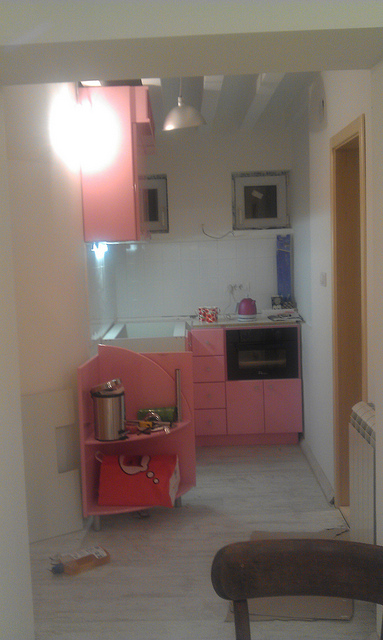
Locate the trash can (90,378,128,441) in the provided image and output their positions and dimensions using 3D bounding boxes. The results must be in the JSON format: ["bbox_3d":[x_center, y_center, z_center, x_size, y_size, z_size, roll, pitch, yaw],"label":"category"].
[{"bbox_3d":[-0.405,0.439,2.634,0.170,0.282,0.137,-4,5,-20],"label":"trash can"}]

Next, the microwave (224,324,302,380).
[{"bbox_3d":[0.543,0.270,4.019,0.576,0.404,0.336,-2,-12,8],"label":"microwave"}]

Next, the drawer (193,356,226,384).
[{"bbox_3d":[0.124,0.345,3.878,0.198,0.182,0.207,0,0,1],"label":"drawer"}]

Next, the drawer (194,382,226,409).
[{"bbox_3d":[0.115,0.521,3.954,0.280,0.270,0.171,-1,1,-3],"label":"drawer"}]

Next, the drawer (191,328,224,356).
[{"bbox_3d":[0.115,0.157,3.873,0.302,0.218,0.175,0,2,1],"label":"drawer"}]

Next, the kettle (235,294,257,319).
[{"bbox_3d":[0.423,-0.090,4.099,0.135,0.147,0.178,-2,4,5],"label":"kettle"}]

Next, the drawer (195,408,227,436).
[{"bbox_3d":[0.140,0.742,3.888,0.280,0.205,0.173,0,1,0],"label":"drawer"}]

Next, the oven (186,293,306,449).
[{"bbox_3d":[0.426,0.377,4.285,1.019,1.410,0.989,-2,0,3],"label":"oven"}]

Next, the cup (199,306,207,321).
[{"bbox_3d":[0.097,-0.044,4.130,0.079,0.147,0.079,3,1,0],"label":"cup"}]

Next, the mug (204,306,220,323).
[{"bbox_3d":[0.156,-0.040,4.104,0.079,0.117,0.128,0,0,11],"label":"mug"}]

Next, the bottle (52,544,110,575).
[{"bbox_3d":[-0.473,1.046,2.327,0.157,0.046,0.092,-6,7,-34],"label":"bottle"}]
